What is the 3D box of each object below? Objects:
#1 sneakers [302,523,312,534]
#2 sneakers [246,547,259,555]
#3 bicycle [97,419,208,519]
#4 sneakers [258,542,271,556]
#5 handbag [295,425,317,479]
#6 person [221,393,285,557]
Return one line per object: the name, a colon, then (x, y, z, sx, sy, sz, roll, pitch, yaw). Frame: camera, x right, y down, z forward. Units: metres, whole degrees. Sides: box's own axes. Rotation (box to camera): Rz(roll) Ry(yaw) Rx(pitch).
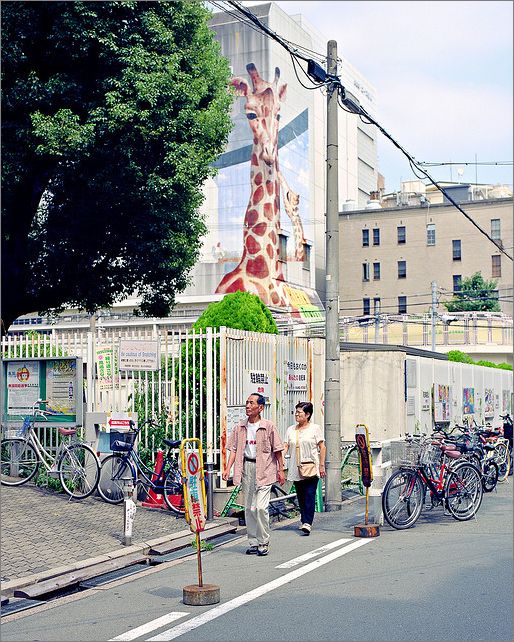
sneakers: (0.600, 2.610, 15.692, 0.060, 0.083, 0.160, 8, -10, 13)
sneakers: (-0.067, 2.650, 14.506, 0.160, 0.094, 0.196, -3, -3, 8)
bicycle: (-1.614, 2.137, 17.388, 1.635, 1.375, 0.956, 8, -3, 23)
sneakers: (0.057, 2.631, 14.451, 0.132, 0.118, 0.236, -2, -3, -1)
handbag: (0.578, 1.669, 15.563, 0.308, 0.624, 0.221, -3, -2, 25)
person: (-0.034, 1.796, 14.608, 0.675, 1.809, 0.482, -1, -2, 1)
